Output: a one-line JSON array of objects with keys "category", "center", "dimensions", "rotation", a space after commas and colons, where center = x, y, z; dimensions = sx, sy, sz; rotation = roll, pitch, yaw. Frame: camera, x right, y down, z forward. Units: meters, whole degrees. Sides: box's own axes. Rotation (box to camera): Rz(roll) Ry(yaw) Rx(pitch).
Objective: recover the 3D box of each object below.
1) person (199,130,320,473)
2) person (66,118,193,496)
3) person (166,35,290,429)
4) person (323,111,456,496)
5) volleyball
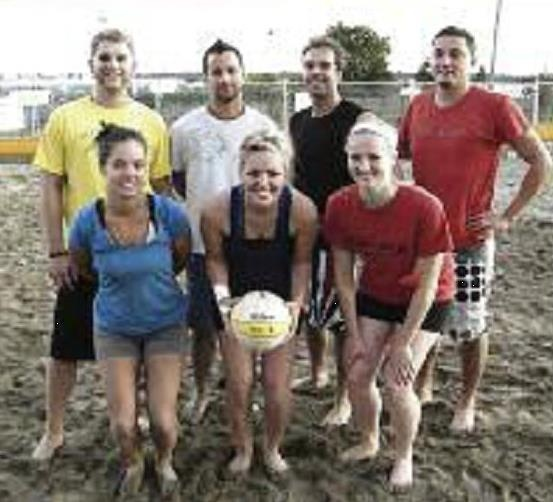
[{"category": "person", "center": [-0.113, 0.256, 3.376], "dimensions": [0.539, 1.747, 0.566], "rotation": [-1, 10, -8]}, {"category": "person", "center": [-0.722, 0.320, 3.171], "dimensions": [0.600, 1.841, 0.581], "rotation": [-3, 12, -9]}, {"category": "person", "center": [-0.348, -0.326, 3.820], "dimensions": [0.739, 2.746, 0.567], "rotation": [-1, 10, -8]}, {"category": "person", "center": [0.588, 0.234, 3.325], "dimensions": [0.616, 1.871, 0.650], "rotation": [1, 0, 43]}, {"category": "volleyball", "center": [-0.030, 0.366, 3.186], "dimensions": [0.327, 0.309, 0.370], "rotation": [-1, -2, 23]}]
